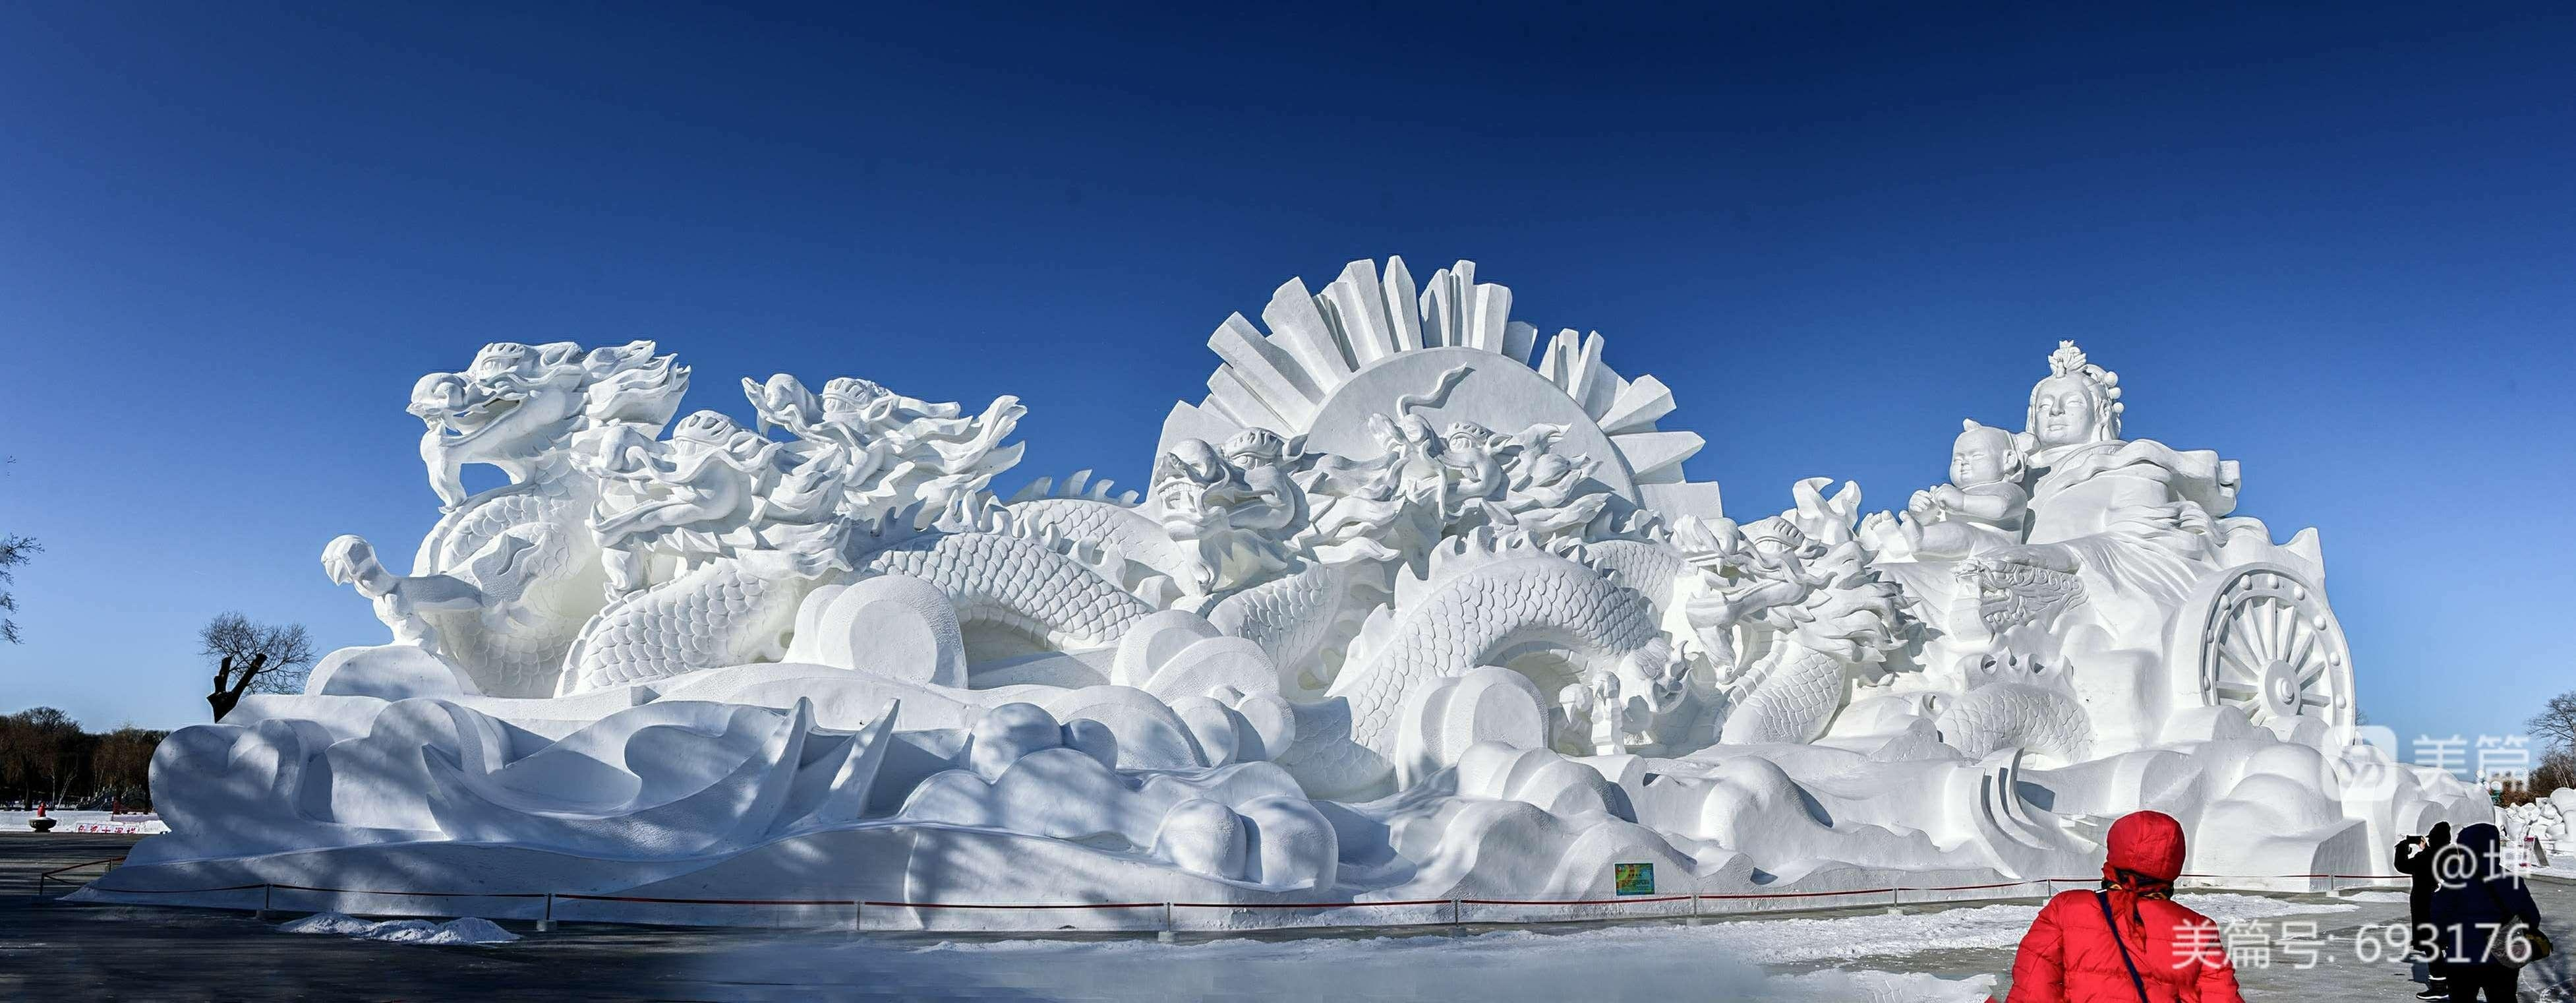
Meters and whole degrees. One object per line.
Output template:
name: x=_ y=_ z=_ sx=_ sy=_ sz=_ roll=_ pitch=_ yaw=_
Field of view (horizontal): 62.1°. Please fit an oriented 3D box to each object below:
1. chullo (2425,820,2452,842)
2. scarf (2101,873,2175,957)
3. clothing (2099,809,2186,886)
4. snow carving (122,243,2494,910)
chullo: x=12.424 y=3.610 z=23.077 sx=0.196 sy=0.268 sz=0.461 roll=-10 pitch=-21 yaw=28
scarf: x=8.275 y=4.030 z=20.984 sx=0.687 sy=0.713 sz=0.330 roll=8 pitch=3 yaw=19
clothing: x=8.424 y=3.403 z=20.980 sx=0.669 sy=0.556 sz=0.841 roll=6 pitch=-1 yaw=14
snow carving: x=0.232 y=0.670 z=28.779 sx=26.689 sy=10.638 sz=4.050 roll=3 pitch=-21 yaw=-7
